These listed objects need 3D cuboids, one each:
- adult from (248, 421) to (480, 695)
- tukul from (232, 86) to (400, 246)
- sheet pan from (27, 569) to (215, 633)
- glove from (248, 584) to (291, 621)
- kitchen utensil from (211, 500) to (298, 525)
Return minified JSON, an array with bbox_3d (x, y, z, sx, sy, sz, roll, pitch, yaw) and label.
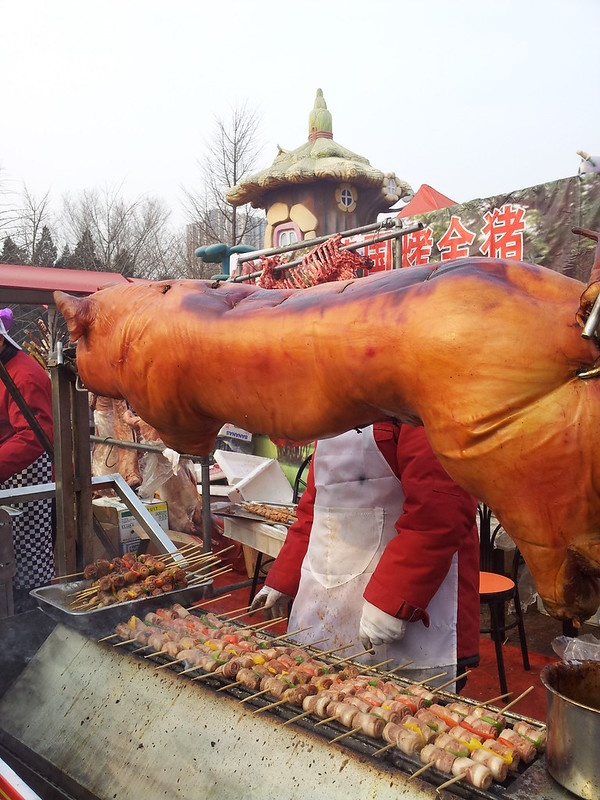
[{"bbox_3d":[0.331,0.538,2.729,0.734,0.988,1.209,6,-10,-22],"label":"adult"},{"bbox_3d":[0.353,-4.654,12.693,3.322,2.713,3.439,-16,31,-43],"label":"tukul"},{"bbox_3d":[-0.667,0.778,2.346,0.371,0.054,0.241,-2,3,-40],"label":"sheet pan"},{"bbox_3d":[-0.105,0.880,2.699,0.205,0.140,0.074,12,34,-4],"label":"glove"},{"bbox_3d":[-0.350,0.960,5.311,0.572,0.057,0.320,4,7,30],"label":"kitchen utensil"}]
